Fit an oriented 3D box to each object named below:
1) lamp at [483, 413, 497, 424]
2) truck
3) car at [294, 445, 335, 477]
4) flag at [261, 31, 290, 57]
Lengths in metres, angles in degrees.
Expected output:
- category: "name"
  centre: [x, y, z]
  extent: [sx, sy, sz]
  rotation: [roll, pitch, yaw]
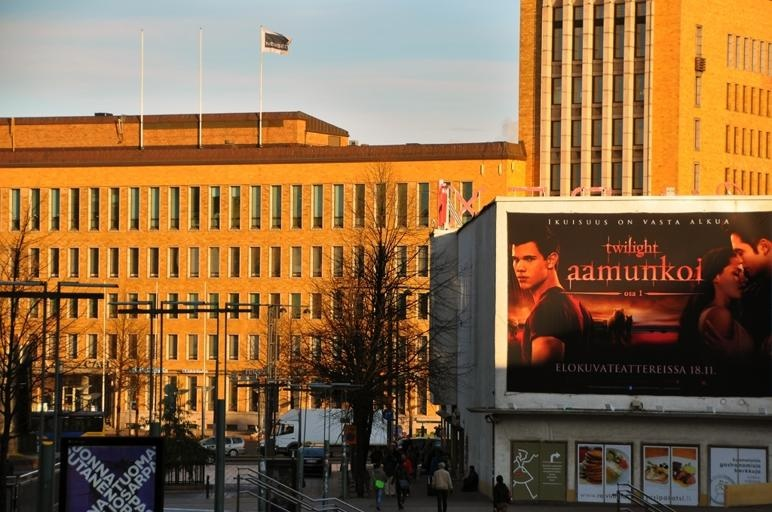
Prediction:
- category: "lamp"
  centre: [6.559, 10.065, 120.393]
  extent: [0.970, 0.496, 1.280]
  rotation: [0, 4, 8]
- category: "truck"
  centre: [-5.186, 12.423, 144.809]
  extent: [12.865, 4.475, 4.022]
  rotation: [1, -10, 6]
- category: "car"
  centre: [-4.804, 13.631, 127.875]
  extent: [3.393, 2.535, 4.114]
  rotation: [0, 1, 0]
- category: "flag"
  centre: [-10.202, -19.788, 176.441]
  extent: [2.219, 2.126, 2.106]
  rotation: [-1, -14, -5]
